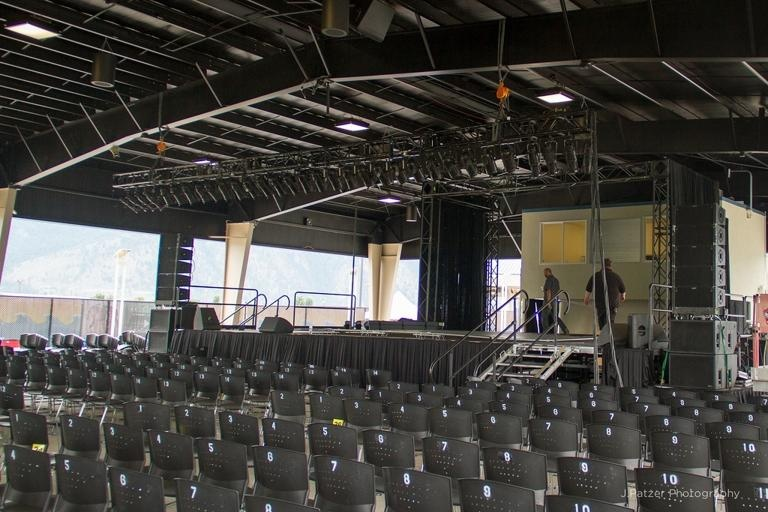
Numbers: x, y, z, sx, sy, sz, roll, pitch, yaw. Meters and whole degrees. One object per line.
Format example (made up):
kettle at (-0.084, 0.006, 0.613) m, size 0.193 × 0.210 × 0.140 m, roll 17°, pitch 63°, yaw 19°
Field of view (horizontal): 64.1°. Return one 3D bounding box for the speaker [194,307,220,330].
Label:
speaker at (-4.664, 1.657, 16.143) m, size 0.642 × 0.601 × 0.654 m, roll 1°, pitch -7°, yaw -19°

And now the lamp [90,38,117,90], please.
lamp at (-5.226, -3.609, 11.439) m, size 0.360 × 0.904 × 0.384 m, roll 7°, pitch -8°, yaw -43°

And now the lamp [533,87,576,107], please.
lamp at (3.424, -3.259, 12.469) m, size 0.567 × 0.118 × 0.516 m, roll 9°, pitch -10°, yaw -43°

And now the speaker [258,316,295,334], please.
speaker at (-2.547, 1.671, 14.684) m, size 0.517 × 0.288 × 0.519 m, roll -4°, pitch -3°, yaw 37°
